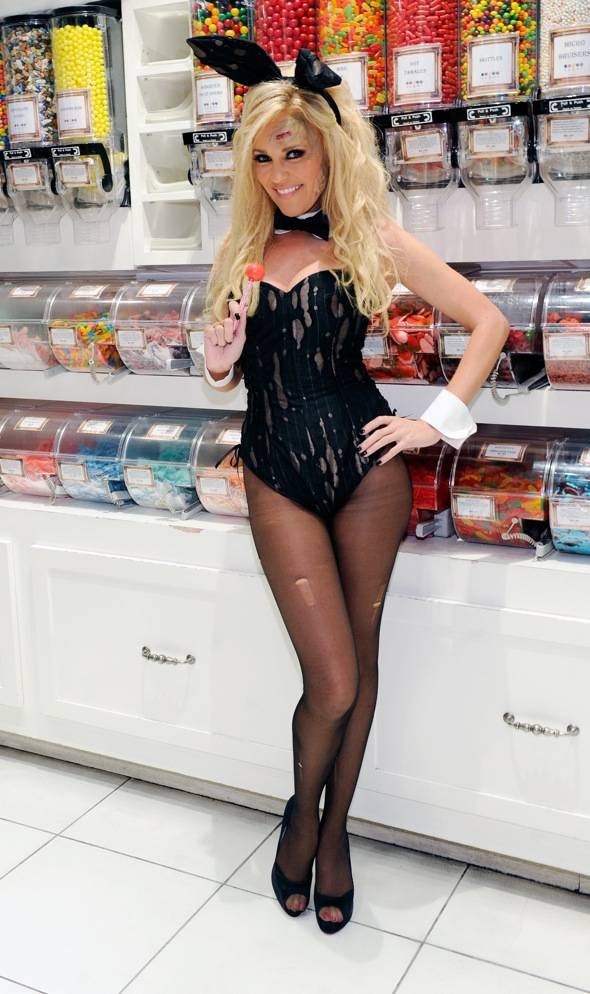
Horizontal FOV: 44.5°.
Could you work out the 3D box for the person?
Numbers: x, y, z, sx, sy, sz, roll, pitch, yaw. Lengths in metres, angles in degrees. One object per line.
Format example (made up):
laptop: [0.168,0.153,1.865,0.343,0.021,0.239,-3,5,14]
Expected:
person: [0.083,0.023,1.218,0.490,1.438,0.446,-2,4,-6]

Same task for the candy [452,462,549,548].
candy: [0.400,-0.019,1.454,0.200,0.199,0.154,3,5,26]

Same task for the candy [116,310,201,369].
candy: [-0.314,-0.349,1.621,0.115,0.087,0.164,6,11,30]

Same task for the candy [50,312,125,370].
candy: [-0.494,-0.375,1.721,0.133,0.103,0.126,-13,20,-42]

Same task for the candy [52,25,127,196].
candy: [-0.484,-0.918,1.692,0.165,0.437,0.156,-1,3,-14]

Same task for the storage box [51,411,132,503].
storage box: [-0.504,-0.094,1.903,0.204,0.235,0.182,3,7,15]

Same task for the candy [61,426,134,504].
candy: [-0.474,-0.087,1.879,0.189,0.218,0.173,2,5,7]

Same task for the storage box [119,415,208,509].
storage box: [-0.312,-0.095,1.810,0.249,0.262,0.192,8,3,24]

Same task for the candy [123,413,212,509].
candy: [-0.320,-0.071,1.710,0.243,0.260,0.193,-8,-7,-4]

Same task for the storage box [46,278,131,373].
storage box: [-0.482,-0.392,1.760,0.206,0.209,0.194,1,-6,-7]

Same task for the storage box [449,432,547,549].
storage box: [0.397,-0.030,1.414,0.199,0.248,0.203,3,8,29]
